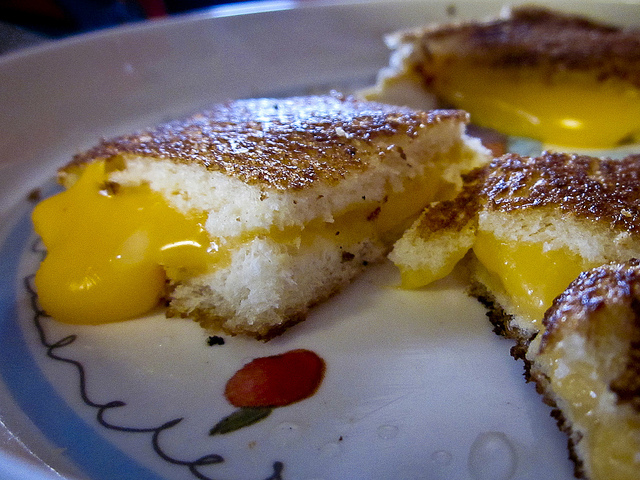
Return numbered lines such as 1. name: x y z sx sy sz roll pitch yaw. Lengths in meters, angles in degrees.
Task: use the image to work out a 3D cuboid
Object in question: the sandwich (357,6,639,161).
1. sandwich: 0.539 -0.463 2.029 0.720 0.209 0.525 -11 34 -8
